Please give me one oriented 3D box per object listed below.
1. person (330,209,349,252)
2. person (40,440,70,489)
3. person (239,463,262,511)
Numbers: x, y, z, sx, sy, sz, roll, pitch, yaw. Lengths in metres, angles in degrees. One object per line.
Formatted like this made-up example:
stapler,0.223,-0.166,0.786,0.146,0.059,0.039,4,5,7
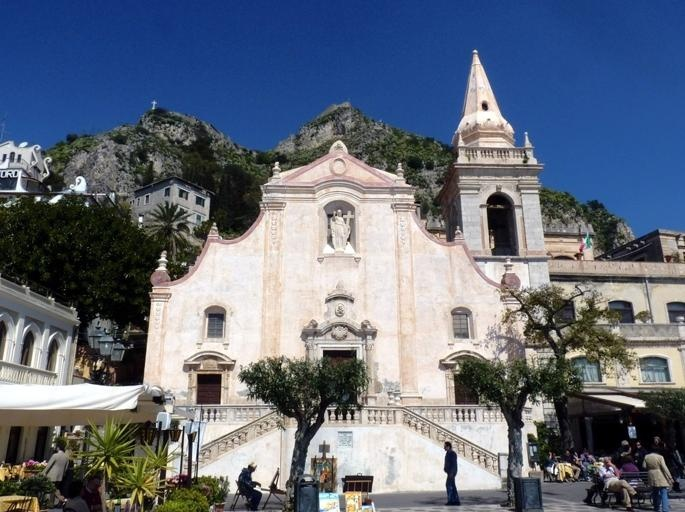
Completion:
person,-0.175,-1.441,34.220,1.286,2.530,1.024,4,-24,-4
person,-9.482,6.857,18.399,0.628,1.534,1.537,13,-27,-22
person,-3.479,8.576,20.575,0.843,1.616,1.684,5,-25,-6
